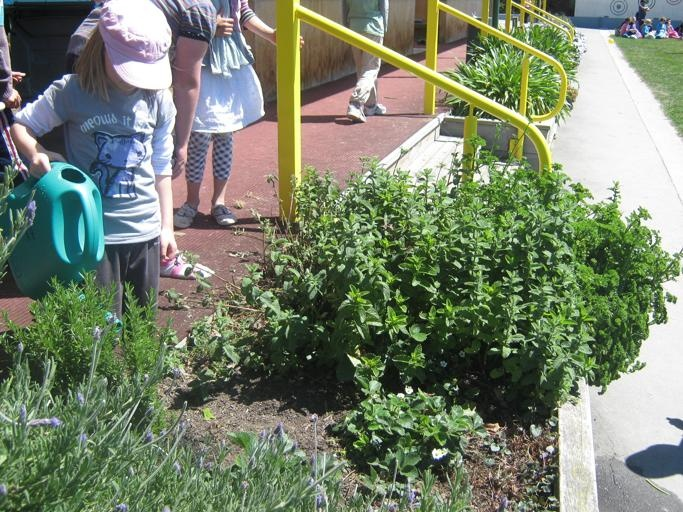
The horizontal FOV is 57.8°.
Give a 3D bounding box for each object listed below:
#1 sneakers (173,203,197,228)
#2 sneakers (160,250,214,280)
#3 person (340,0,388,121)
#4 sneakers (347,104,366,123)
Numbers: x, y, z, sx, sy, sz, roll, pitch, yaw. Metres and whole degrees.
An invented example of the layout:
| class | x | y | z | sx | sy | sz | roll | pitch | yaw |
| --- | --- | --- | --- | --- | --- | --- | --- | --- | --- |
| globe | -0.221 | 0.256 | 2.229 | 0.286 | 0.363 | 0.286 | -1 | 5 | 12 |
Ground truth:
| class | x | y | z | sx | sy | sz | roll | pitch | yaw |
| --- | --- | --- | --- | --- | --- | --- | --- | --- | --- |
| sneakers | -1.174 | -0.309 | 4.673 | 0.087 | 0.104 | 0.265 | 9 | 33 | 5 |
| sneakers | -0.947 | 0.059 | 3.755 | 0.282 | 0.137 | 0.117 | 5 | 33 | 2 |
| person | 0.325 | -2.607 | 8.195 | 0.706 | 1.518 | 1.084 | 7 | 21 | 2 |
| sneakers | 0.204 | -1.851 | 8.019 | 0.238 | 0.244 | 0.237 | 7 | 22 | 0 |
